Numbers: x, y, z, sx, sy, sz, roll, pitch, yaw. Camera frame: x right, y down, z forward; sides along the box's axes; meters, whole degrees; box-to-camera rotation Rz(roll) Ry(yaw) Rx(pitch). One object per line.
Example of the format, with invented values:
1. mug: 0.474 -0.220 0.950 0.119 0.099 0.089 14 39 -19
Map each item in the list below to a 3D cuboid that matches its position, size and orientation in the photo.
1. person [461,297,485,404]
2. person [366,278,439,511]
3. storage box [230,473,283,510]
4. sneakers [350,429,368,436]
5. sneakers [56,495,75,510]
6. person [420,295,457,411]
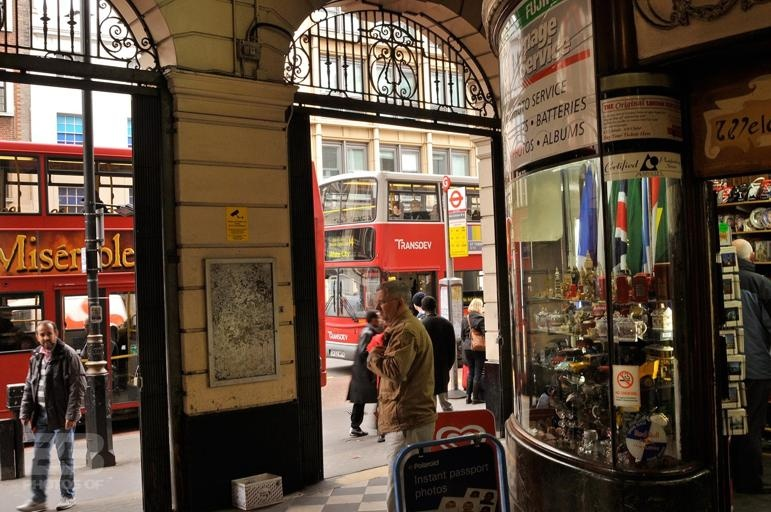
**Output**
1. person: 1.567 1.712 12.673 0.406 1.862 0.724 -4 -3 6
2. person: 0.146 1.170 6.810 0.621 1.854 0.395 -3 -3 0
3. storage box: -1.537 2.597 8.252 0.552 0.337 0.290 2 -9 -39
4. sneakers: -0.434 2.782 11.240 0.275 0.125 0.103 -2 -3 -10
5. sneakers: -3.916 3.018 8.642 0.098 0.114 0.261 -1 -13 2
6. person: 0.694 1.488 10.318 0.665 1.856 0.660 -4 10 4
